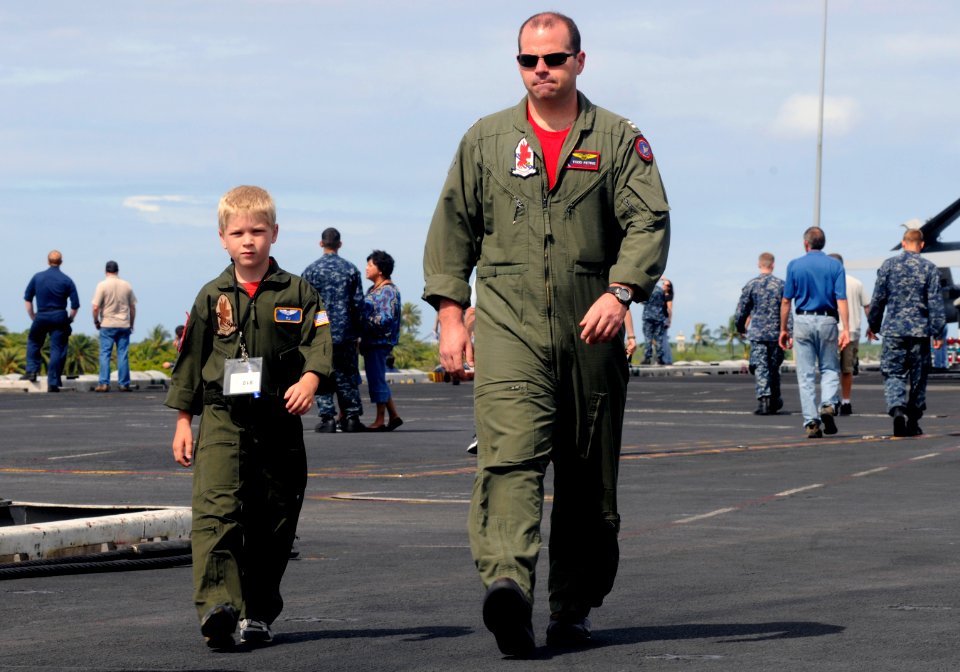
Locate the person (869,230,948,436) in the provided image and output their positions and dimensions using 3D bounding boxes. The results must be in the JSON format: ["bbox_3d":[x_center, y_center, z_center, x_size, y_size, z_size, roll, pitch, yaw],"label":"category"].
[{"bbox_3d":[4.160,-0.064,17.150,0.680,1.599,1.229,-1,0,12],"label":"person"}]

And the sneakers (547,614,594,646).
[{"bbox_3d":[0.399,1.325,8.024,0.200,0.121,0.208,-1,1,2],"label":"sneakers"}]

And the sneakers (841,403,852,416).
[{"bbox_3d":[4.437,0.861,21.360,0.185,0.155,0.128,-1,1,24],"label":"sneakers"}]

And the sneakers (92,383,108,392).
[{"bbox_3d":[-6.175,0.806,28.441,0.135,0.144,0.368,-1,6,-25],"label":"sneakers"}]

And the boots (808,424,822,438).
[{"bbox_3d":[3.231,0.904,17.033,0.078,0.079,0.201,-2,-9,16],"label":"boots"}]

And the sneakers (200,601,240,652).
[{"bbox_3d":[-1.175,1.289,7.873,0.158,0.192,0.161,-1,0,-10],"label":"sneakers"}]

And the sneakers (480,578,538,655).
[{"bbox_3d":[0.118,1.216,7.649,0.172,0.368,0.161,-5,36,4],"label":"sneakers"}]

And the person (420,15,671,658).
[{"bbox_3d":[0.300,-0.051,8.051,1.004,2.537,0.596,-1,0,-26],"label":"person"}]

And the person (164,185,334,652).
[{"bbox_3d":[-1.049,0.346,8.060,0.735,1.971,0.449,-1,0,-16],"label":"person"}]

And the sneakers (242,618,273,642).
[{"bbox_3d":[-1.040,1.334,8.046,0.176,0.105,0.120,-1,1,9],"label":"sneakers"}]

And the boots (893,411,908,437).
[{"bbox_3d":[3.971,0.812,16.655,0.120,0.301,0.140,0,18,9],"label":"boots"}]
